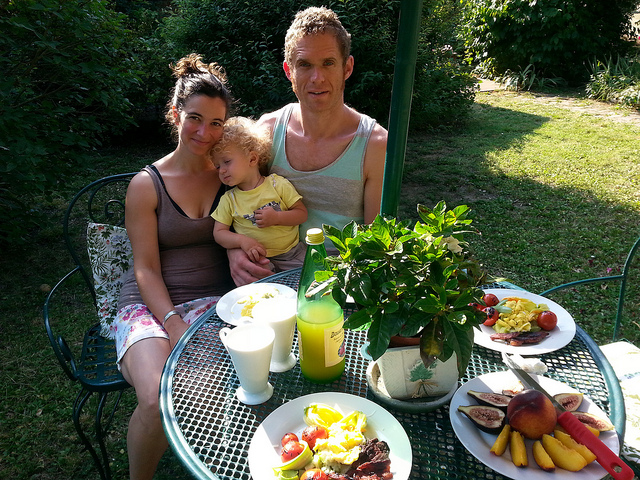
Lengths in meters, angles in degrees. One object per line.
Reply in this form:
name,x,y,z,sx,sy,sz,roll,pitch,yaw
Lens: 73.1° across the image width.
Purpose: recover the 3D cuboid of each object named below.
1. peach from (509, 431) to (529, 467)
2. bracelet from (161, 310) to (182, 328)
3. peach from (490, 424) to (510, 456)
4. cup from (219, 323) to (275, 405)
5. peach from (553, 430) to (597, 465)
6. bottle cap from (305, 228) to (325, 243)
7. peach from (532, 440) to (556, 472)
peach,0.622,0.651,1.351,0.052,0.022,0.110,0,36,14
bracelet,-0.809,0.423,2.339,0.023,0.083,0.077,30,8,2
peach,0.569,0.635,1.374,0.036,0.037,0.108,20,42,24
cup,-0.261,0.456,1.563,0.158,0.229,0.209,6,20,33
peach,0.779,0.634,1.319,0.047,0.038,0.129,-10,35,-44
bottle cap,-0.018,-0.014,1.464,0.058,0.031,0.059,-3,20,1
peach,0.682,0.667,1.315,0.044,0.023,0.068,6,46,-6
